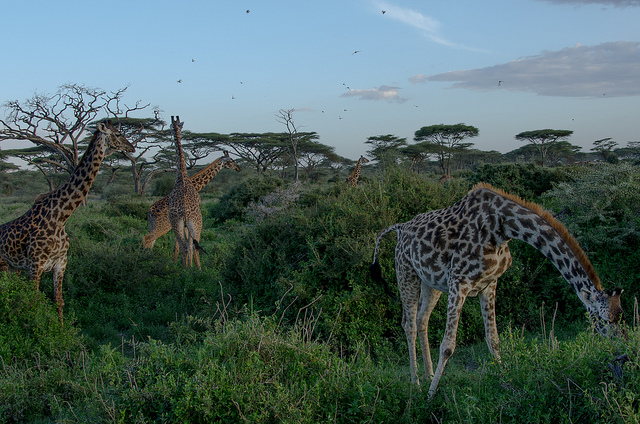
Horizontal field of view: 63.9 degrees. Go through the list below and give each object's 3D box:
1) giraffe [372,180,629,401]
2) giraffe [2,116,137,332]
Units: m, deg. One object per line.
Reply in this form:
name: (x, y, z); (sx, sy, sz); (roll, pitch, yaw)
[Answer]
giraffe: (2.673, 1.311, 8.311); (4.107, 3.155, 1.115); (3, 1, 42)
giraffe: (-5.523, 0.093, 10.970); (2.306, 3.341, 3.203); (-3, 2, -21)
